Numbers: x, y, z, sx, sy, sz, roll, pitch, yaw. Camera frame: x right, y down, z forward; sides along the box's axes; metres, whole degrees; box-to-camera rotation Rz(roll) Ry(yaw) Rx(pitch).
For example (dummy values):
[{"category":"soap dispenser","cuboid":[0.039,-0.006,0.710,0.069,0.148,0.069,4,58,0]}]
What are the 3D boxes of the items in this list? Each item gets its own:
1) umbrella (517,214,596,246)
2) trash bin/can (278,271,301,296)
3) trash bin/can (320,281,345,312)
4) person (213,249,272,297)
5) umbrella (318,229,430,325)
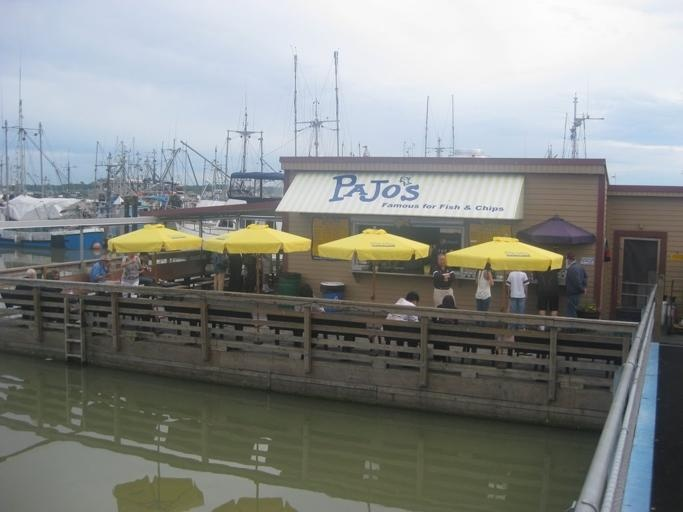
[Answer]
[{"category":"umbrella","cuboid":[5.554,-0.589,23.856,1.059,0.528,1.051,-7,13,-35]},{"category":"trash bin/can","cuboid":[-1.454,0.801,26.146,0.604,0.828,0.591,1,-1,-1]},{"category":"trash bin/can","cuboid":[-0.253,1.110,24.963,0.666,0.705,0.684,1,2,-4]},{"category":"person","cuboid":[-2.906,0.501,27.099,1.952,1.084,1.301,2,9,-10]},{"category":"umbrella","cuboid":[0.678,0.371,22.662,2.167,1.574,2.259,4,4,31]}]
